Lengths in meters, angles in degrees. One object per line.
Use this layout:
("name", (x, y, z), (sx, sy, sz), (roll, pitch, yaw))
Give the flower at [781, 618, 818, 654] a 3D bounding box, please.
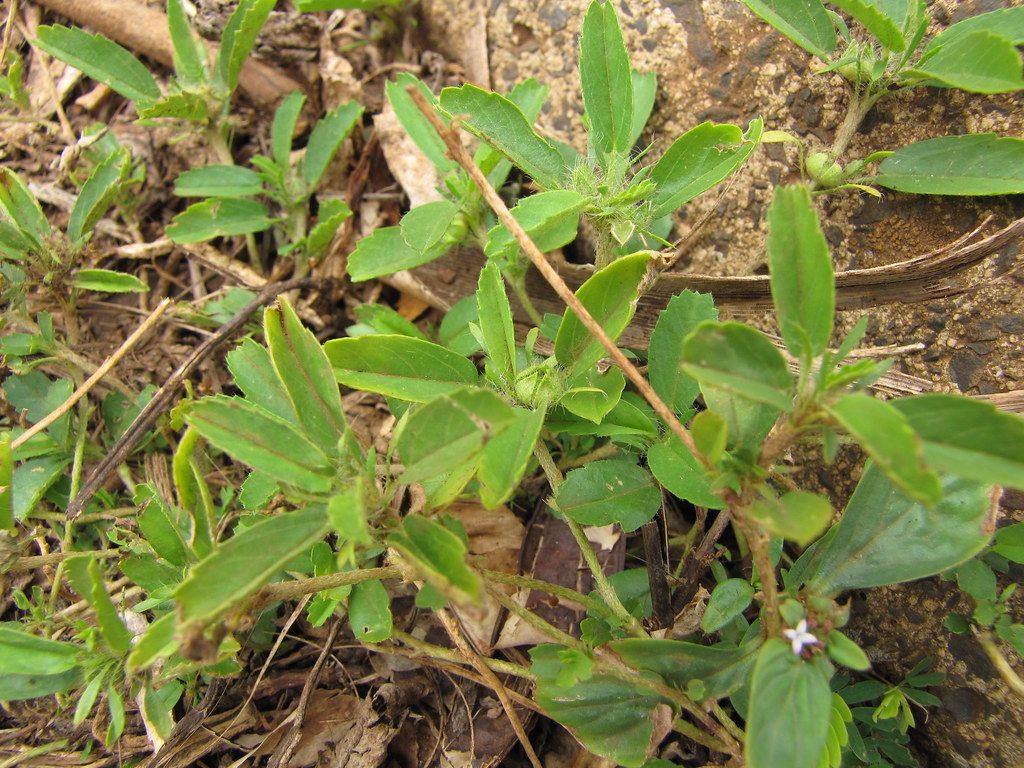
("flower", (0.652, 0.570, 1.855), (0.062, 0.024, 0.064), (-26, 66, -11))
